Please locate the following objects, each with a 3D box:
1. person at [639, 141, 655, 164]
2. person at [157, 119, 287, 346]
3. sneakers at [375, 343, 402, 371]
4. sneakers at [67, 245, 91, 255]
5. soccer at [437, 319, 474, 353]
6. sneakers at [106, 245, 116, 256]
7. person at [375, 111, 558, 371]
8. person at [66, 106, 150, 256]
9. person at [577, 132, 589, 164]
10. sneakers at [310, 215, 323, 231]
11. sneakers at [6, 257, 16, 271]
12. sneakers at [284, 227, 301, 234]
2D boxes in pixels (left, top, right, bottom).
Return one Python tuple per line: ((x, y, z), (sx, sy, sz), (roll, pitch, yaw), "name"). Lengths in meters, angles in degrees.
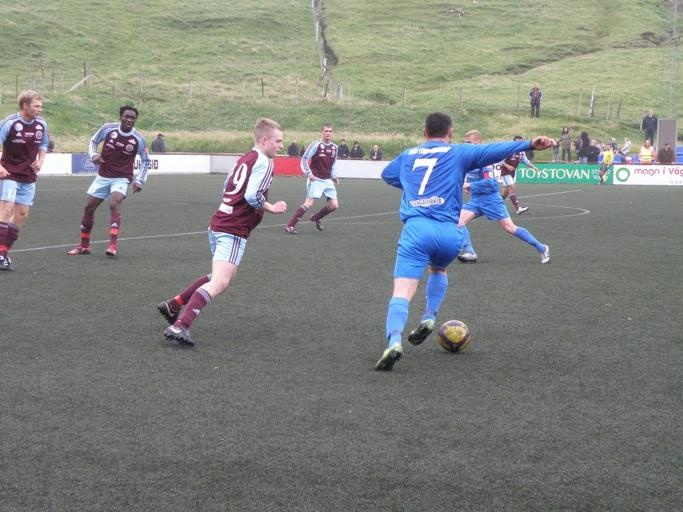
((13.663, -4.642, 33.707), (0.546, 1.030, 1.425), (7, 14, 22), "person")
((-1.072, -0.230, 6.999), (1.107, 2.054, 1.131), (0, 13, -5), "person")
((0.388, 0.811, 6.189), (0.199, 0.266, 0.282), (2, 13, 2), "sneakers")
((-3.903, -0.098, 11.299), (0.369, 0.157, 0.134), (1, 9, -10), "sneakers")
((1.014, 0.728, 6.832), (0.267, 0.273, 0.270), (2, -16, 7), "soccer")
((-3.407, -0.069, 11.159), (0.105, 0.137, 0.287), (1, -6, -7), "sneakers")
((0.873, -0.187, 6.548), (1.312, 2.062, 1.183), (-2, 13, -14), "person")
((-3.488, -1.144, 11.473), (1.123, 2.269, 1.440), (-2, 14, -15), "person")
((12.278, -5.523, 38.217), (0.562, 1.566, 1.816), (5, 14, 17), "person")
((-0.473, -0.676, 15.158), (0.204, 0.151, 0.424), (-7, -28, 18), "sneakers")
((-4.356, 0.112, 9.966), (0.126, 0.162, 0.372), (0, 0, -22), "sneakers")
((-0.954, -0.496, 14.648), (0.261, 0.122, 0.096), (6, 22, 12), "sneakers")
